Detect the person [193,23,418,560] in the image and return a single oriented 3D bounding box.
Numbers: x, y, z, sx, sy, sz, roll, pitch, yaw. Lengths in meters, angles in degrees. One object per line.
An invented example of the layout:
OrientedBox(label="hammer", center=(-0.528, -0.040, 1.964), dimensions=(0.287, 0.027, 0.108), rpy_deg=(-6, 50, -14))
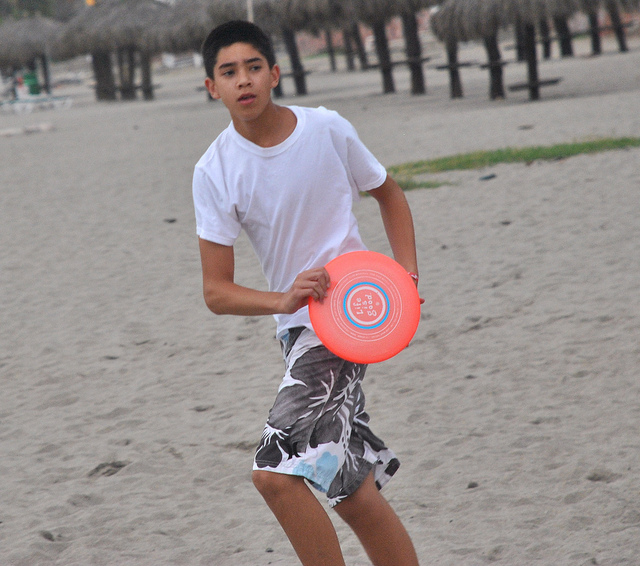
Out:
OrientedBox(label="person", center=(-0.072, 0.065, 9.087), dimensions=(1.322, 3.543, 0.927), rpy_deg=(-7, 11, -3))
